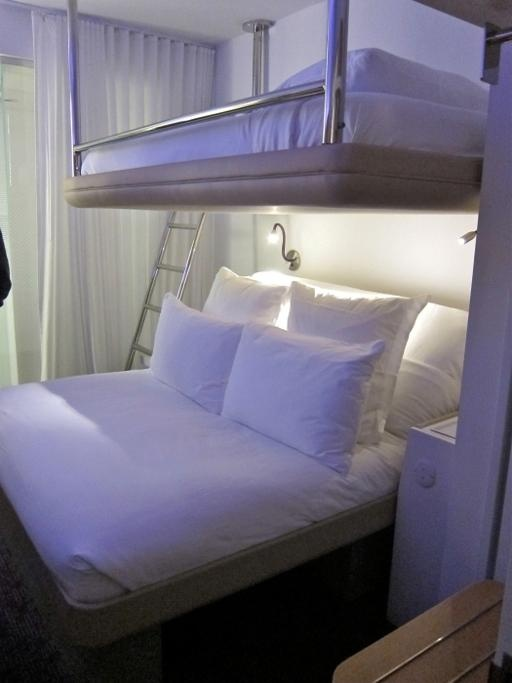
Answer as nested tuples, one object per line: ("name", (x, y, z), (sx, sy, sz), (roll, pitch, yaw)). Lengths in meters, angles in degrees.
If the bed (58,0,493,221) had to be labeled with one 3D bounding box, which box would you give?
("bed", (-0.062, -0.443, 1.376), (0.422, 0.331, 1.161), (-5, 6, -41))
